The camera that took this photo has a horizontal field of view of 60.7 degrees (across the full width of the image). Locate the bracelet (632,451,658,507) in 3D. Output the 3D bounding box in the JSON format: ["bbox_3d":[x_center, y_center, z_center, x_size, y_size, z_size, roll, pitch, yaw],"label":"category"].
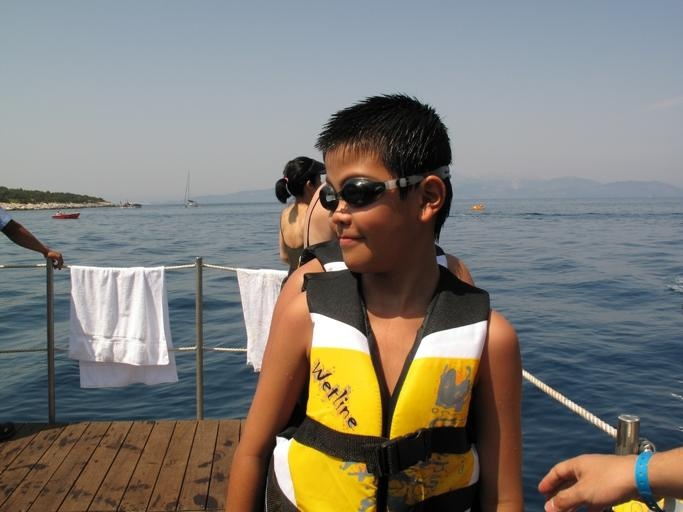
[{"bbox_3d":[0.987,0.725,1.907,0.074,0.159,0.076,6,10,-3],"label":"bracelet"}]

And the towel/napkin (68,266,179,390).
[{"bbox_3d":[-2.019,0.673,5.411,0.993,1.153,0.412,3,11,-14],"label":"towel/napkin"}]
